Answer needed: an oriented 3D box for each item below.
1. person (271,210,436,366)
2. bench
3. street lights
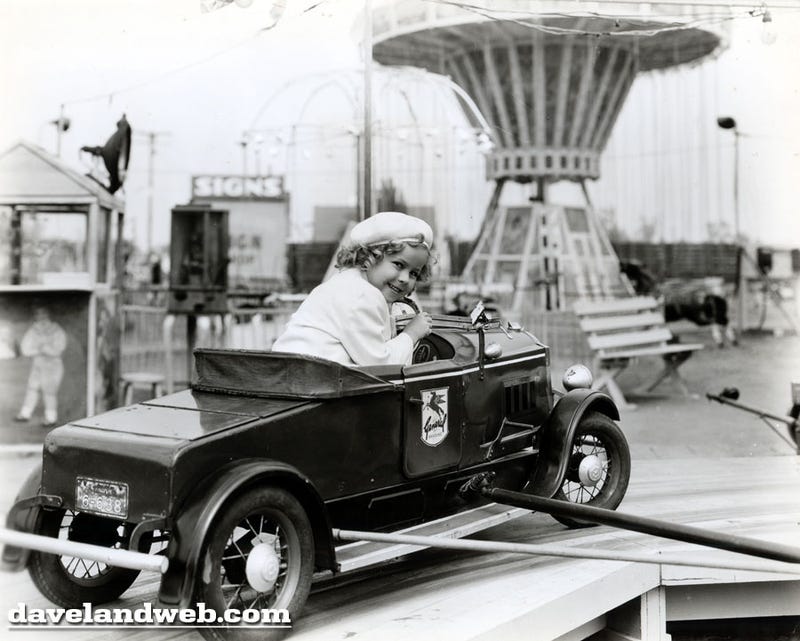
[{"bbox_3d":[-0.209,-0.120,6.741,0.968,0.850,0.572,-11,15,-23],"label":"person"},{"bbox_3d":[1.913,0.105,9.681,0.941,0.840,0.843,-5,22,-1],"label":"bench"},{"bbox_3d":[2.597,-0.732,9.485,0.179,1.615,0.435,-3,14,10],"label":"street lights"}]
